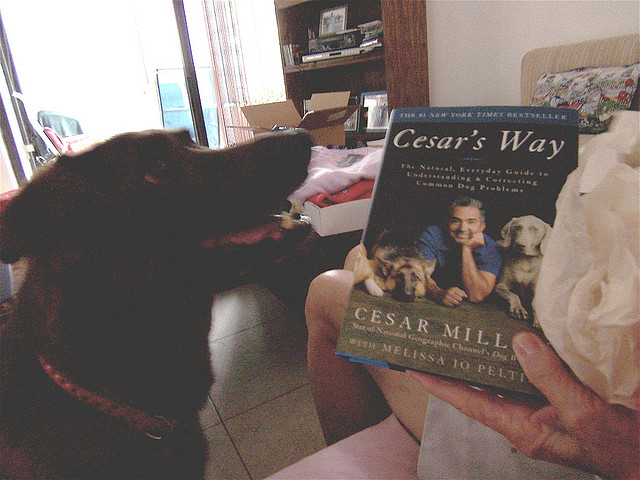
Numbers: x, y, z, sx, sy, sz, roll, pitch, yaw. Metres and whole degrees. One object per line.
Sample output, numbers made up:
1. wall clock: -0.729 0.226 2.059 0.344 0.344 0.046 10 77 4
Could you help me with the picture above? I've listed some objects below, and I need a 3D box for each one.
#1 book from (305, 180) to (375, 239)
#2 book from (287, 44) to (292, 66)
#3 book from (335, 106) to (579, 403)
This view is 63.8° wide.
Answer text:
1. book: 0.072 -0.106 1.773 0.205 0.074 0.207 -18 30 -7
2. book: -0.197 -1.238 3.437 0.018 0.117 0.028 -8 27 -1
3. book: 0.288 0.012 1.069 0.409 0.502 0.424 5 29 23
